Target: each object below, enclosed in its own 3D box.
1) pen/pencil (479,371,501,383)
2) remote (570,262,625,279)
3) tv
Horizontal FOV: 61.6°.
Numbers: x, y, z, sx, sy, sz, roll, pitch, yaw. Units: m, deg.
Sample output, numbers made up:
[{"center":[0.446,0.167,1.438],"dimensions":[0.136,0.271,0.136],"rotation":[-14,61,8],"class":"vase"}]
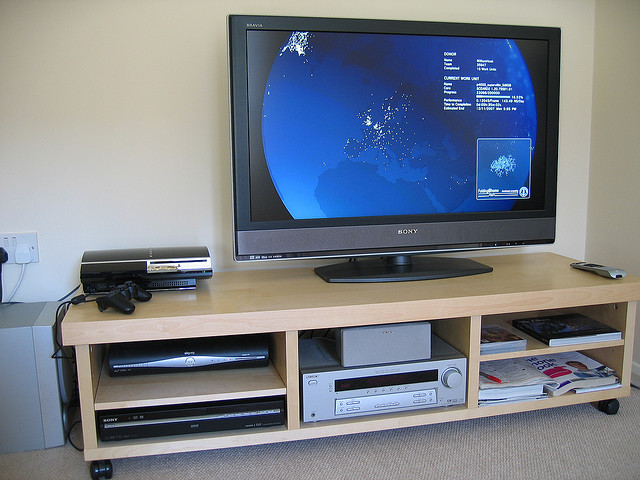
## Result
[{"center":[0.682,0.550,2.136],"dimensions":[0.016,0.012,0.093],"rotation":[-28,28,-28],"class":"pen/pencil"},{"center":[1.168,0.114,2.274],"dimensions":[0.075,0.036,0.221],"rotation":[-3,7,-16],"class":"remote"},{"center":[0.288,-0.396,2.180],"dimensions":[1.213,0.800,0.295],"rotation":[-2,6,-14],"class":"tv"}]
